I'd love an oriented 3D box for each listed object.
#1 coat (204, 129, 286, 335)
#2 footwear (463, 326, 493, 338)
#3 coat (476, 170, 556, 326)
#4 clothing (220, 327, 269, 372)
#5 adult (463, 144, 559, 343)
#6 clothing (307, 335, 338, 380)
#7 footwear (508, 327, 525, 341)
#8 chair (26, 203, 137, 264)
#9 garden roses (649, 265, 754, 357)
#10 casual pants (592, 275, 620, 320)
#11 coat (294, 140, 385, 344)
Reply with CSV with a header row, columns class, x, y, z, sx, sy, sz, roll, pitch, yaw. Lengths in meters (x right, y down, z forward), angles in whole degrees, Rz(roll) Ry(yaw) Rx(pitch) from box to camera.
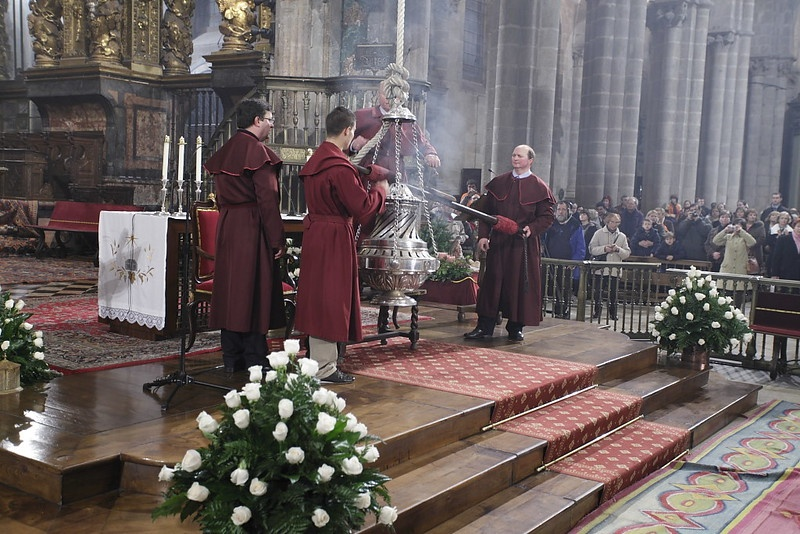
class,x,y,z,sx,sy,sz,roll,pitch,yaw
coat,-1.642,-0.377,8.951,0.826,2.167,0.437,2,8,-1
footwear,0.995,0.851,10.920,0.396,0.149,0.146,4,-4,-20
coat,1.545,-0.288,10.994,1.096,2.095,0.650,2,-4,35
clothing,-1.649,0.922,9.254,0.554,0.739,0.500,0,-10,4
adult,1.475,-0.321,11.029,1.188,2.452,0.852,5,3,26
clothing,-0.810,0.941,9.038,0.327,0.416,0.358,-15,23,-25
footwear,1.454,0.892,10.946,0.305,0.192,0.093,-2,3,-2
chair,-5.892,-0.718,15.694,1.881,0.762,0.647,4,23,23
garden roses,4.183,0.592,11.531,1.286,1.195,1.286,-3,1,36
casual pants,3.520,0.508,14.269,0.509,1.333,0.432,-5,48,8
coat,-0.674,-0.249,8.881,0.822,2.162,0.424,2,8,-2
